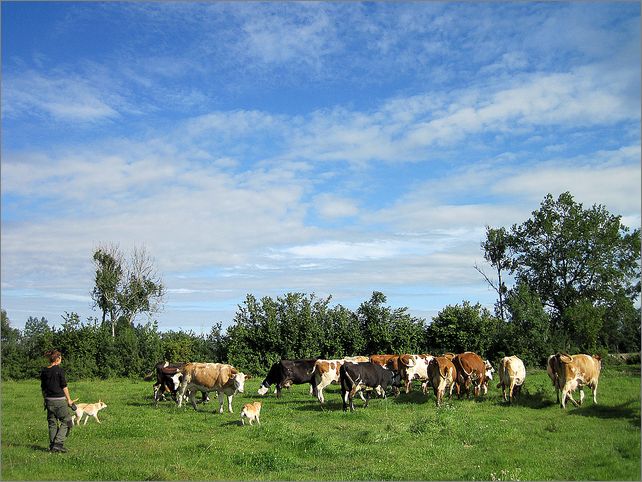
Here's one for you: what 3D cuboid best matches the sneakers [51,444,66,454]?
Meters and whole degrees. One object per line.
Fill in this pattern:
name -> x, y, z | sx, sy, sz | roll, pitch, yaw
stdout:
sneakers -> -10.272, 8.178, 20.965 | 0.262, 0.286, 0.610 | 10, -19, 7

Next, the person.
person -> -10.368, 6.290, 20.865 | 1.063, 3.953, 0.762 | 0, -1, -28

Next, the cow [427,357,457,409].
cow -> 6.451, 7.514, 28.769 | 1.188, 2.351, 2.339 | -1, -2, 28

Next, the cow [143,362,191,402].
cow -> -8.085, 7.745, 29.956 | 1.120, 2.214, 3.774 | 12, -21, -34

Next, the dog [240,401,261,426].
dog -> -3.211, 7.959, 24.410 | 0.793, 0.942, 1.154 | 0, -2, -5

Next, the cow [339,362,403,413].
cow -> 3.081, 7.417, 28.473 | 4.156, 2.588, 1.383 | 7, -8, -43

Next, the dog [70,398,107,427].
dog -> -10.715, 7.940, 24.502 | 1.111, 1.002, 1.360 | 0, -2, -27
